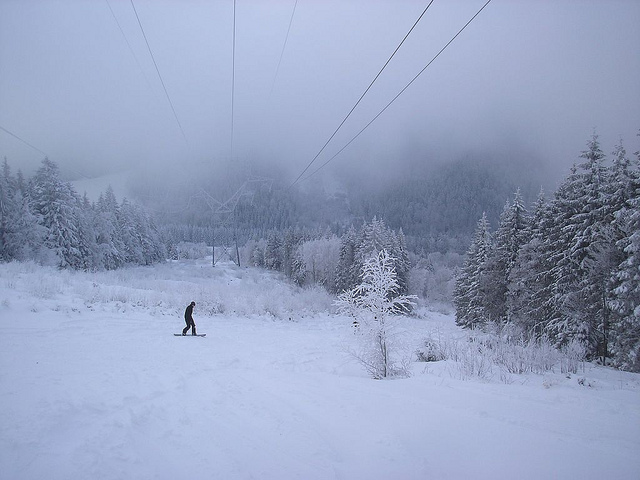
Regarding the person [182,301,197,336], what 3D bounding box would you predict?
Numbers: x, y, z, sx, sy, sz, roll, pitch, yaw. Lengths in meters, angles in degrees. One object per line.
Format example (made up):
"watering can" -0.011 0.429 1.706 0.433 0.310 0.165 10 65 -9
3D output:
"person" -6.381 3.751 24.549 0.608 1.387 1.896 9 2 -13
